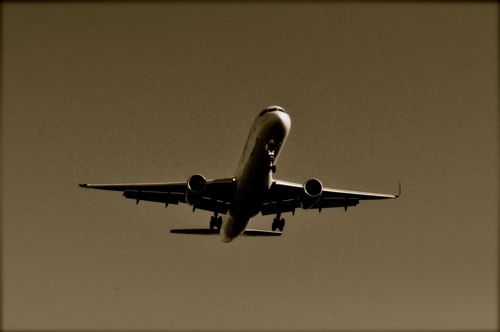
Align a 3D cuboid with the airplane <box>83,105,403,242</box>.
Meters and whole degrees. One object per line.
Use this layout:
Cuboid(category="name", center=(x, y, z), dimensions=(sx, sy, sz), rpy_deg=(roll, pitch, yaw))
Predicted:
Cuboid(category="airplane", center=(0.207, 1.409, 46.644), dimensions=(11.278, 3.367, 8.589), rpy_deg=(4, -60, -13))
